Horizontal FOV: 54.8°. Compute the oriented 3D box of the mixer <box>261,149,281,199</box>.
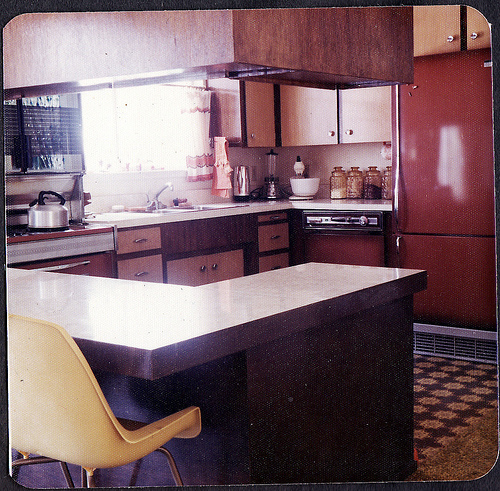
[{"bbox_3d":[0.186,-0.672,4.483,0.182,0.474,0.371,-1,6,3],"label":"mixer"}]

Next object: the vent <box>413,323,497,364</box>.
[{"bbox_3d":[1.255,0.593,2.923,0.522,0.212,0.331,3,6,34],"label":"vent"}]

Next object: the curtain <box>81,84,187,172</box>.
[{"bbox_3d":[-0.868,-0.864,3.520,0.033,0.602,0.852,4,11,31],"label":"curtain"}]

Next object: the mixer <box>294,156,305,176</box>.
[{"bbox_3d":[0.433,-0.726,4.363,0.117,0.224,0.126,-1,-3,-2],"label":"mixer"}]

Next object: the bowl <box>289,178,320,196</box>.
[{"bbox_3d":[0.474,-0.513,4.222,0.237,0.157,0.200,-1,6,1],"label":"bowl"}]

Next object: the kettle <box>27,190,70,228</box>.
[{"bbox_3d":[-1.140,-0.198,2.742,0.222,0.245,0.202,-3,16,-35],"label":"kettle"}]
